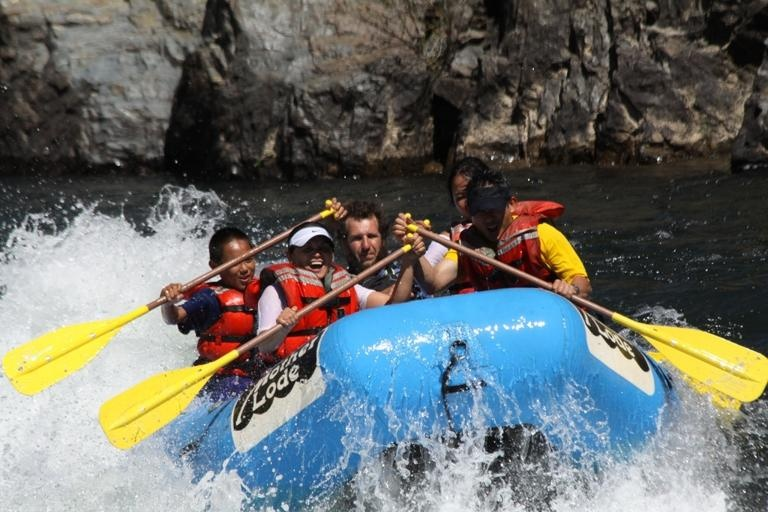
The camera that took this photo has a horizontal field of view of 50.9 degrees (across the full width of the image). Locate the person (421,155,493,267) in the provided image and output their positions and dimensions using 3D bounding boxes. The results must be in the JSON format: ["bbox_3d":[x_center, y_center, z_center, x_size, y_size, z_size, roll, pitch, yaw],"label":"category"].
[{"bbox_3d":[0.655,-0.520,7.870,0.563,1.118,0.450,-1,22,-19],"label":"person"}]

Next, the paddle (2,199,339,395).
[{"bbox_3d":[-2.214,0.459,8.103,3.356,0.291,0.493,-32,69,-8],"label":"paddle"}]

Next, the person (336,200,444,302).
[{"bbox_3d":[-0.162,-0.085,7.595,0.768,1.004,0.334,-10,0,-5],"label":"person"}]

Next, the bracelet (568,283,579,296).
[{"bbox_3d":[1.631,0.286,6.897,0.092,0.031,0.085,7,30,-37],"label":"bracelet"}]

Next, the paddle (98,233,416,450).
[{"bbox_3d":[-1.085,0.790,7.019,3.339,0.238,0.499,-31,70,3],"label":"paddle"}]
